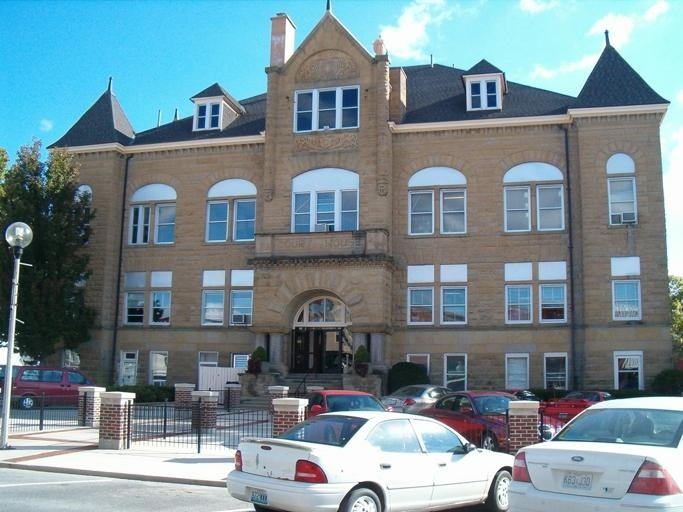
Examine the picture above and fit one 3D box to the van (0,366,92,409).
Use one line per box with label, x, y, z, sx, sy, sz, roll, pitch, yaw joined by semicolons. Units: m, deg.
van;-12.792;5.562;39.663;3.578;1.606;2.033;1;-8;-25
